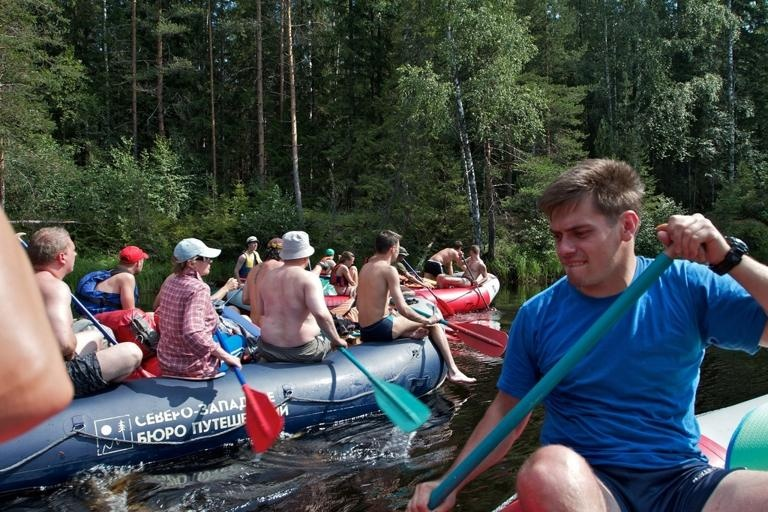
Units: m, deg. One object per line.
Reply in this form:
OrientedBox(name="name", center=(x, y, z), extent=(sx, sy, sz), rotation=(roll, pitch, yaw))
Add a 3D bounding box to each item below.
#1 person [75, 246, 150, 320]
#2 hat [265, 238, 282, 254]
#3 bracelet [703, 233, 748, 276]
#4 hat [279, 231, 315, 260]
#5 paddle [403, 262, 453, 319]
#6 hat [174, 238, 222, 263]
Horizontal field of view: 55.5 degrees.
OrientedBox(name="person", center=(-3.385, 0.318, 9.145), extent=(0.846, 0.892, 0.707), rotation=(14, -5, -19))
OrientedBox(name="hat", center=(-1.523, -0.157, 10.186), extent=(0.236, 0.259, 0.192), rotation=(6, 4, -42))
OrientedBox(name="bracelet", center=(2.600, -0.025, 5.656), extent=(0.202, 0.323, 0.311), rotation=(27, 9, 15))
OrientedBox(name="hat", center=(-1.017, -0.115, 8.588), extent=(0.307, 0.212, 0.373), rotation=(-1, -7, -3))
OrientedBox(name="paddle", center=(0.792, 0.600, 12.776), extent=(0.183, 0.239, 1.694), rotation=(24, 17, -36))
OrientedBox(name="hat", center=(-2.066, -0.072, 8.100), extent=(0.426, 0.208, 0.269), rotation=(-6, 9, -27))
